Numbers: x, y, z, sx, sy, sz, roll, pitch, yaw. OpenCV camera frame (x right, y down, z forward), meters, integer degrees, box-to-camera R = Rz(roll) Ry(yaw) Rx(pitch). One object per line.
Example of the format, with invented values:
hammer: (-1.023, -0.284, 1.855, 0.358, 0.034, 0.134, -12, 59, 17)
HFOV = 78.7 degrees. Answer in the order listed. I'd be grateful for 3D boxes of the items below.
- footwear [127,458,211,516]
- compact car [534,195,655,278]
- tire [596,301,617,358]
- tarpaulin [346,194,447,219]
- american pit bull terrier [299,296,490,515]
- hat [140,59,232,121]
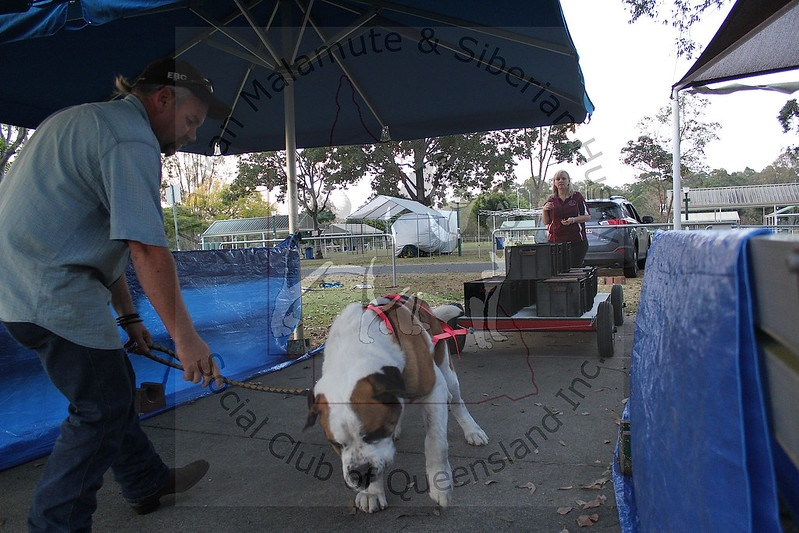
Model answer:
footwear: (-1.492, 1.453, 3.227, 0.172, 0.293, 0.503, 10, 27, 35)
compact car: (4.702, -0.466, 10.840, 1.873, 1.709, 3.994, -1, 9, 23)
tire: (2.233, 0.698, 5.289, 0.176, 0.610, 0.538, -1, -10, 15)
tarpaulin: (-0.019, -0.279, 2.283, 0.455, 0.117, 0.211, -2, 6, -11)
american pit bull terrier: (-0.033, 0.771, 2.486, 0.377, 1.316, 0.851, 4, 8, 34)
hat: (-1.144, -0.963, 2.637, 0.411, 0.230, 0.296, 14, 2, -19)
